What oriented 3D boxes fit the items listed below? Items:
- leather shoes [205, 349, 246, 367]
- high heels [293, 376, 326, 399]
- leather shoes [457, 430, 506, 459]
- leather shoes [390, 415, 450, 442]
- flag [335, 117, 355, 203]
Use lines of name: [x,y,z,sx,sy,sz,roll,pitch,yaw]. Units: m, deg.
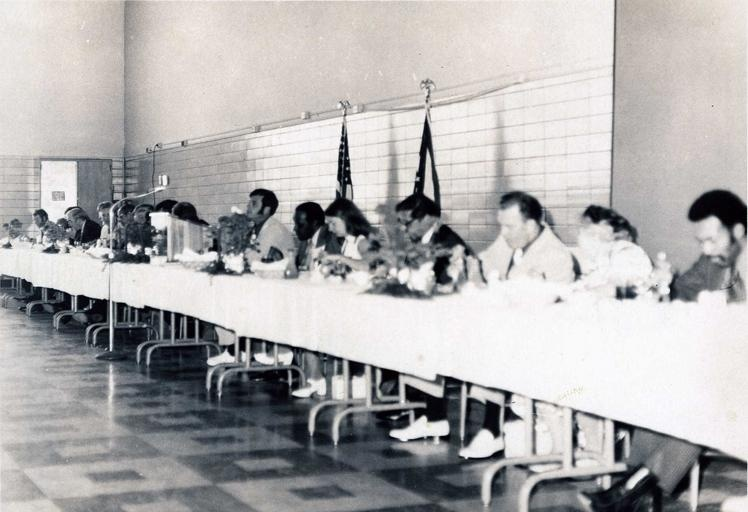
leather shoes: [-1.256,0.849,6.246,0.375,0.147,0.155,0,-6,1]
high heels: [-0.451,1.012,5.657,0.331,0.142,0.118,-2,-7,15]
leather shoes: [0.634,1.112,4.447,0.263,0.107,0.145,0,-2,-23]
leather shoes: [0.293,1.103,4.808,0.433,0.177,0.145,0,-4,-6]
flag: [-0.316,-0.966,7.351,0.155,0.821,0.363,0,4,-23]
